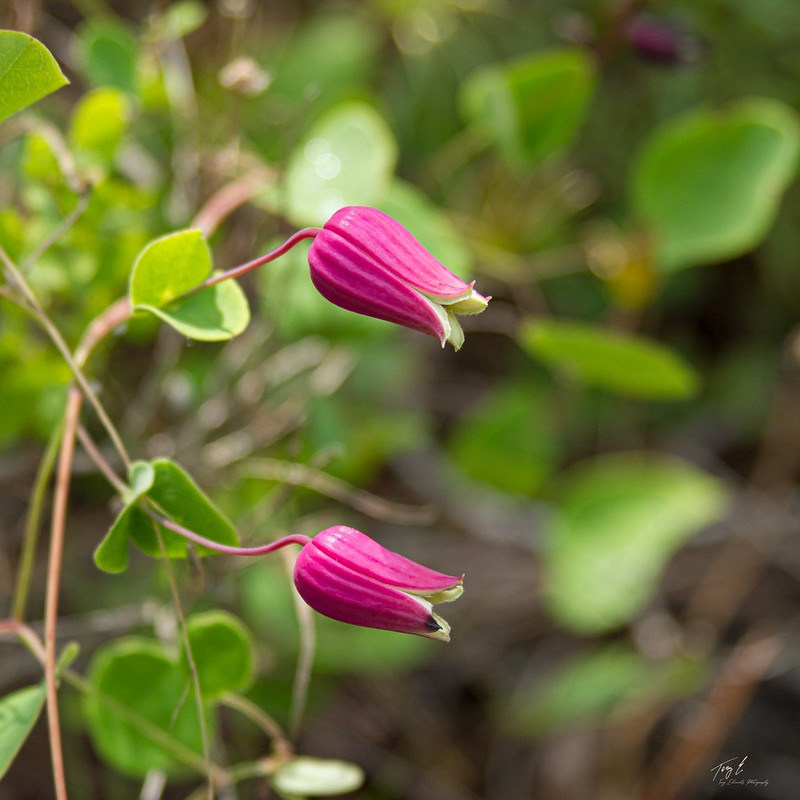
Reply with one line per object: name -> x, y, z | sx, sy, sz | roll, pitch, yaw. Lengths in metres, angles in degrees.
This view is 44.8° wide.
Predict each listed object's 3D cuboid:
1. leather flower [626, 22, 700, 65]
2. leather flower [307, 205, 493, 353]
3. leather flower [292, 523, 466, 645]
leather flower -> 0.273, -0.367, 0.998 | 0.074, 0.033, 0.036 | 15, 69, 16
leather flower -> -0.004, -0.087, 0.753 | 0.151, 0.062, 0.083 | 29, 85, 11
leather flower -> -0.019, 0.136, 0.743 | 0.138, 0.067, 0.045 | 16, 57, 0
